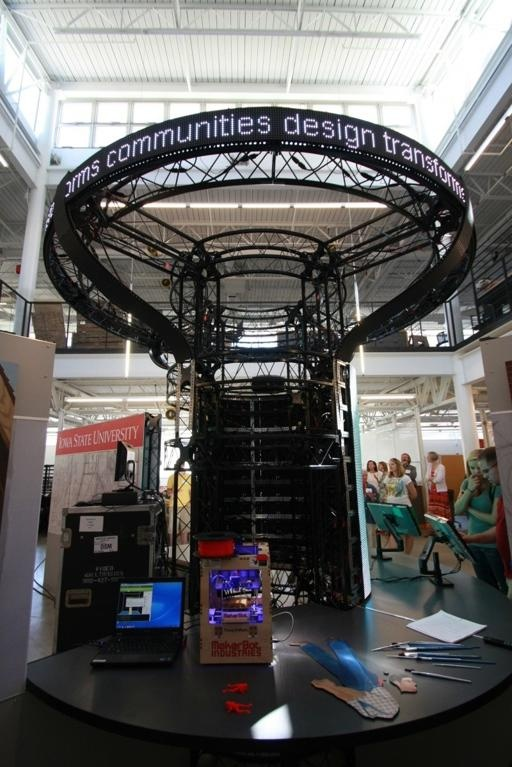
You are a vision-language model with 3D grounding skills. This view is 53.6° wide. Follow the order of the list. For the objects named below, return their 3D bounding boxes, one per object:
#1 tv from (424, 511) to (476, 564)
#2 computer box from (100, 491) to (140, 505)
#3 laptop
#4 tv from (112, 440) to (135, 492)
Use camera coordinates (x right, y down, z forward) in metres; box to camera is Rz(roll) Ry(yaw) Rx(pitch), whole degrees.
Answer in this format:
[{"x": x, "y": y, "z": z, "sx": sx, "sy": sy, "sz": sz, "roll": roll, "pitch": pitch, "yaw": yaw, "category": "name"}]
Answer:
[{"x": 1.641, "y": 1.261, "z": 4.331, "sx": 0.130, "sy": 0.488, "sz": 0.498, "roll": -39, "pitch": -27, "yaw": -12, "category": "tv"}, {"x": -1.235, "y": 1.048, "z": 4.619, "sx": 0.323, "sy": 0.147, "sz": 0.199, "roll": -6, "pitch": -15, "yaw": 9, "category": "computer box"}, {"x": -0.645, "y": 1.456, "z": 3.202, "sx": 0.701, "sy": 0.472, "sz": 0.555, "roll": 0, "pitch": -7, "yaw": -1, "category": "laptop"}, {"x": -1.310, "y": 0.834, "z": 5.063, "sx": 0.176, "sy": 0.493, "sz": 0.631, "roll": 1, "pitch": -15, "yaw": -16, "category": "tv"}]
